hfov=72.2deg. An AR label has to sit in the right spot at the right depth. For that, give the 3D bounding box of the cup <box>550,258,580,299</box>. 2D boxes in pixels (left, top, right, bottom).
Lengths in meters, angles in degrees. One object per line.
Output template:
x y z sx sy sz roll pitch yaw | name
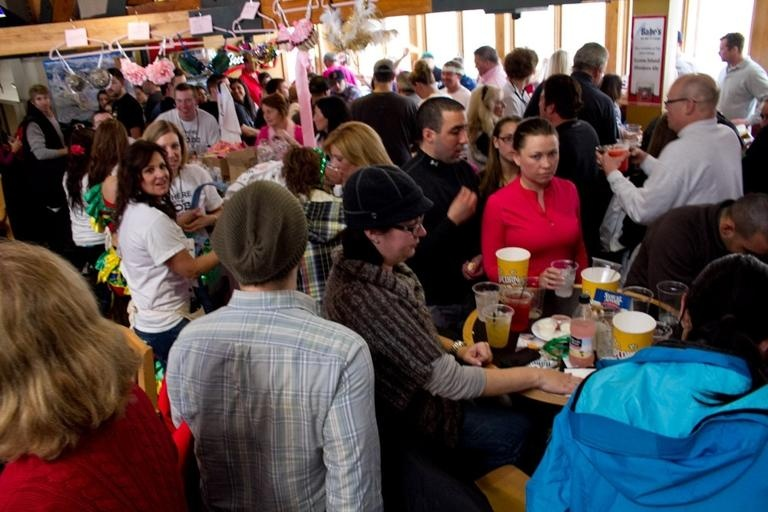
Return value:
0.981 0.111 2.895 0.177 0.201 0.184 -4 16 1 | cup

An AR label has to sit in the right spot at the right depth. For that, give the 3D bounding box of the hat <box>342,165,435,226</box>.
0.012 -0.209 2.119 0.294 0.157 0.233 -6 25 12 | hat

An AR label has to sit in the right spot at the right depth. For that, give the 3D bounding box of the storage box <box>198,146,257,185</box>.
-1.468 -0.859 4.874 0.427 0.280 0.451 11 20 34 | storage box

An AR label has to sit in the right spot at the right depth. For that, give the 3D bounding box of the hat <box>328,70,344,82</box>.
-0.636 -2.436 7.156 0.140 0.086 0.215 3 19 14 | hat

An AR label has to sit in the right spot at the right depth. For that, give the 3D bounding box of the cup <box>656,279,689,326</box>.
1.406 0.230 2.544 0.143 0.162 0.151 -3 18 1 | cup

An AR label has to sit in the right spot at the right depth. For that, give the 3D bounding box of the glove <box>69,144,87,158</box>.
-2.557 -0.870 4.353 0.121 0.092 0.032 15 -23 -29 | glove

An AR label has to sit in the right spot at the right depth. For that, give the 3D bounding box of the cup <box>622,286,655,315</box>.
1.259 0.220 2.587 0.095 0.136 0.097 -7 21 3 | cup

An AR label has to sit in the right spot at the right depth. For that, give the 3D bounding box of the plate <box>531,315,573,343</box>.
0.825 0.354 2.586 0.131 0.033 0.136 2 32 22 | plate

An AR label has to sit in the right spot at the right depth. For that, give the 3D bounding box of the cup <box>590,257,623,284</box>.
1.244 0.080 2.918 0.187 0.143 0.162 -1 9 -30 | cup

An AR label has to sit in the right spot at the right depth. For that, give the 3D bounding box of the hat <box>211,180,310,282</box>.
-0.418 -0.059 1.758 0.324 0.124 0.380 -6 48 7 | hat
